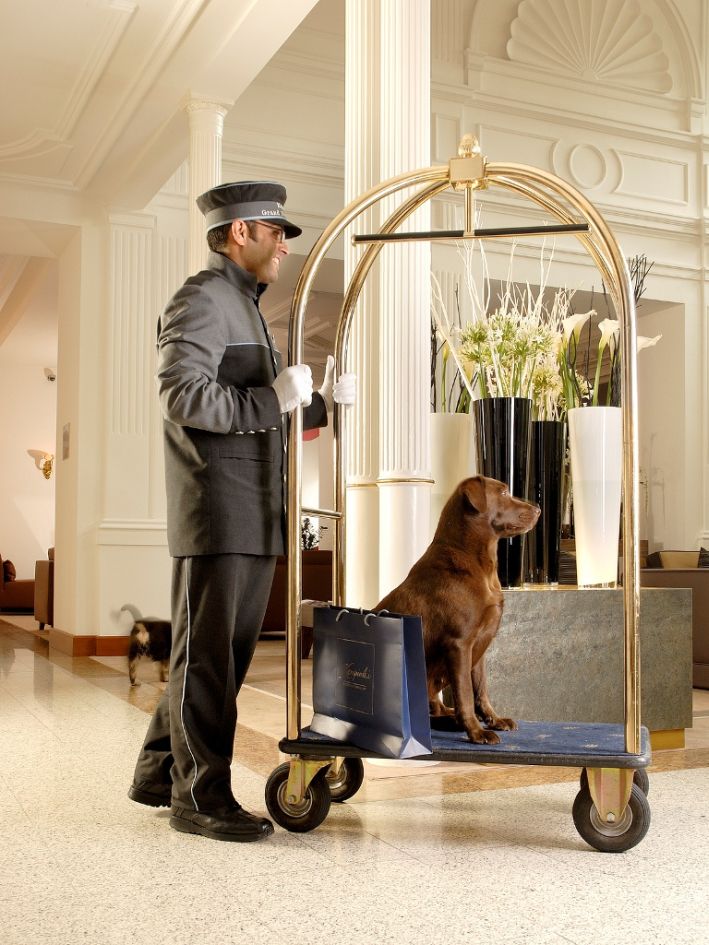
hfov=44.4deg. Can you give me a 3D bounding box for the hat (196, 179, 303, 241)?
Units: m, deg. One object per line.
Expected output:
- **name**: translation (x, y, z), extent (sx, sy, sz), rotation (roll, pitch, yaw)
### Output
- **hat**: translation (-0.257, -0.596, 1.973), extent (0.184, 0.079, 0.167), rotation (5, 6, 8)

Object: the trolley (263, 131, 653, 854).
- **trolley**: translation (0.191, 0.000, 1.928), extent (0.830, 1.592, 0.589), rotation (-2, -6, 17)

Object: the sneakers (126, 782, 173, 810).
- **sneakers**: translation (-0.471, 0.748, 2.023), extent (0.131, 0.063, 0.047), rotation (4, -6, 0)

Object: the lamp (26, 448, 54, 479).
- **lamp**: translation (-4.930, -0.139, 13.760), extent (0.434, 0.456, 0.590), rotation (4, -8, -40)

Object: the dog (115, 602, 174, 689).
- **dog**: translation (-1.217, 1.017, 5.103), extent (0.201, 0.477, 0.927), rotation (-7, -10, -9)

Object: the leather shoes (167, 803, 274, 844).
- **leather shoes**: translation (-0.276, 0.710, 1.797), extent (0.200, 0.085, 0.077), rotation (-1, -5, 10)

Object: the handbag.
- **handbag**: translation (0.036, 0.421, 1.742), extent (0.112, 0.304, 0.337), rotation (1, -3, -34)

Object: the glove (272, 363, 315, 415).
- **glove**: translation (-0.140, -0.173, 1.815), extent (0.083, 0.109, 0.050), rotation (10, 7, -4)
